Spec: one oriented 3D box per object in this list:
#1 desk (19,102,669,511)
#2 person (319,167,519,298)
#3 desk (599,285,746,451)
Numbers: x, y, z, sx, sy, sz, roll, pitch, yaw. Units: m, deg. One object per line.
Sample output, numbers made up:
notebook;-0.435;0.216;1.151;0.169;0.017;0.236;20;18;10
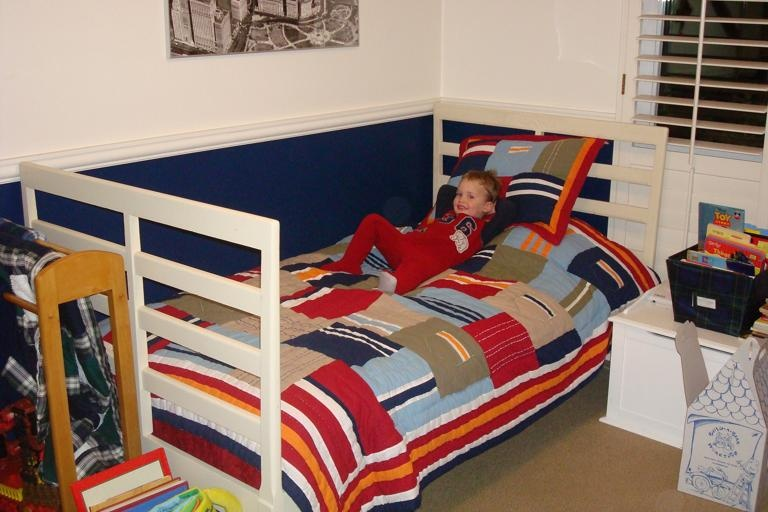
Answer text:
desk;0.042;0.102;2.923;1.846;1.348;2.653;16;23;42
person;0.273;-0.144;3.120;1.148;0.615;0.559;-5;15;-41
desk;1.414;0.490;2.970;0.705;0.655;0.620;14;24;38
